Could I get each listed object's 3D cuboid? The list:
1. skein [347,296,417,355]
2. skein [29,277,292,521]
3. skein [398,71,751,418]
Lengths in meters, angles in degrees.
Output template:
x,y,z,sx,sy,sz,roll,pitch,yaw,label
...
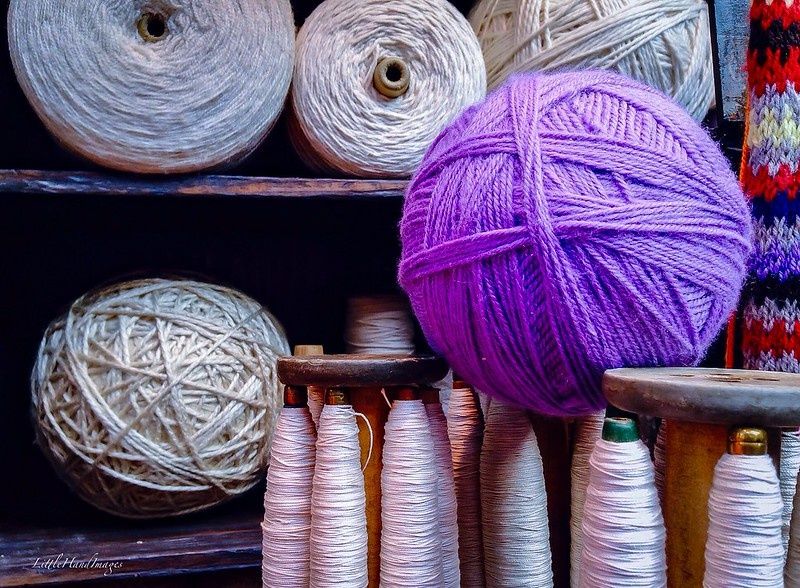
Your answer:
x,y,z,sx,sy,sz,roll,pitch,yaw,label
-0.025,0.053,1.781,0.105,0.092,0.102,-1,-3,33,skein
-0.360,0.170,1.720,0.364,0.359,0.350,-10,-12,-20,skein
0.198,-0.078,1.422,0.479,0.427,0.446,-12,13,-19,skein
